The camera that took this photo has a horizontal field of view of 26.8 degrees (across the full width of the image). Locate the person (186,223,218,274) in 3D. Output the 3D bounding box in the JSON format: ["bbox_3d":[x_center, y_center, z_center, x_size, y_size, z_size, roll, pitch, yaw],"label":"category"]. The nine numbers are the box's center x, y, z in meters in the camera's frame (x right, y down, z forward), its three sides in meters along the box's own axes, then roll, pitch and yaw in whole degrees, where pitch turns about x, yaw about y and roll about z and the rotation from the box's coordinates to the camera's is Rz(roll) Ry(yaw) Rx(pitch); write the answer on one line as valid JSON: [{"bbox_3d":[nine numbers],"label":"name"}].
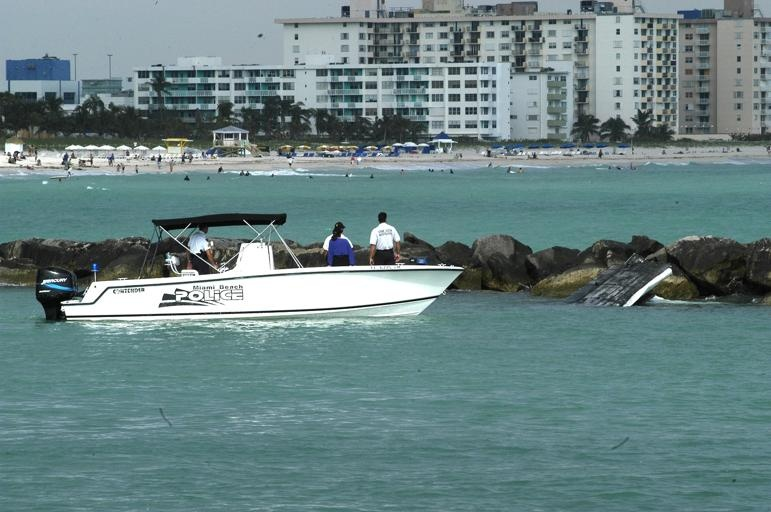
[{"bbox_3d":[-9.235,-0.477,82.063,1.321,2.524,1.038,-3,5,-7],"label":"person"}]

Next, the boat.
[{"bbox_3d":[-7.119,0.450,82.454,19.726,5.423,1.983,-1,5,0],"label":"boat"}]
